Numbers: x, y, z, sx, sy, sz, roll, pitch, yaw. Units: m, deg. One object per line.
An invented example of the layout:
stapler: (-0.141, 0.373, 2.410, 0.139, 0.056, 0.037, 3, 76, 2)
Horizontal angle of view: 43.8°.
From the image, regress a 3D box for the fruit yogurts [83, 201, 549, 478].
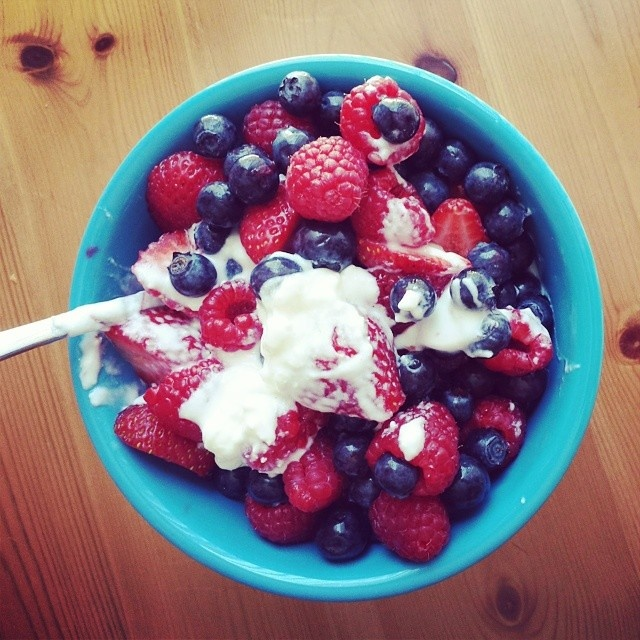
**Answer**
fruit yogurts: (0.011, 0.027, 1.326, 0.609, 0.257, 0.534, -5, 96, 3)
